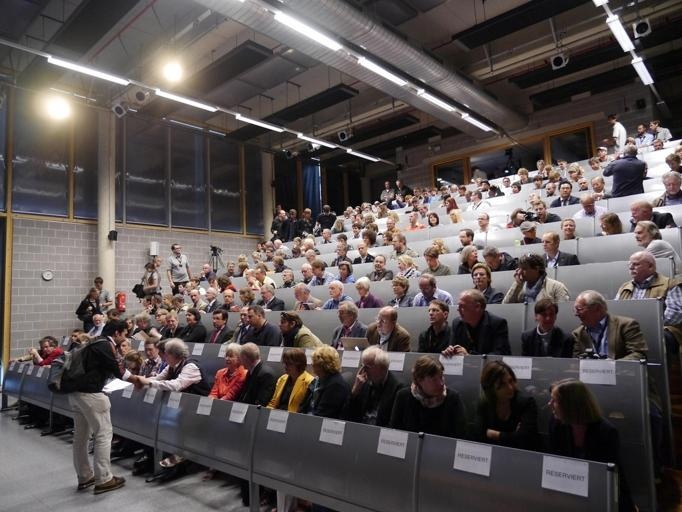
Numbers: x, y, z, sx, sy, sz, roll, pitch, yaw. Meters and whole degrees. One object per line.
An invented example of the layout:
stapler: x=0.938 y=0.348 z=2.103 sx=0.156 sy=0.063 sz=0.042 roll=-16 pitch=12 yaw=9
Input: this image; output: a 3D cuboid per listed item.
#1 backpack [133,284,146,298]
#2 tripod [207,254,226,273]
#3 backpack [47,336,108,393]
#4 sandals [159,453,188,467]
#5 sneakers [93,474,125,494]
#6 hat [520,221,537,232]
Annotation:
backpack: x=-4.753 y=0.837 z=11.370 sx=0.179 sy=0.430 sz=0.403 roll=-10 pitch=9 yaw=-42
tripod: x=-3.446 y=0.218 z=13.213 sx=0.461 sy=0.820 sz=0.460 roll=0 pitch=1 yaw=-31
backpack: x=-2.661 y=1.163 z=5.029 sx=0.611 sy=0.562 sz=0.441 roll=7 pitch=-20 yaw=-34
sandals: x=-1.745 y=2.156 z=5.114 sx=0.340 sy=0.131 sz=0.154 roll=16 pitch=2 yaw=-34
sneakers: x=-2.315 y=2.308 z=4.829 sx=0.287 sy=0.117 sz=0.108 roll=-4 pitch=4 yaw=-43
hat: x=2.470 y=-0.366 z=6.335 sx=0.176 sy=0.092 sz=0.125 roll=-24 pitch=28 yaw=17
